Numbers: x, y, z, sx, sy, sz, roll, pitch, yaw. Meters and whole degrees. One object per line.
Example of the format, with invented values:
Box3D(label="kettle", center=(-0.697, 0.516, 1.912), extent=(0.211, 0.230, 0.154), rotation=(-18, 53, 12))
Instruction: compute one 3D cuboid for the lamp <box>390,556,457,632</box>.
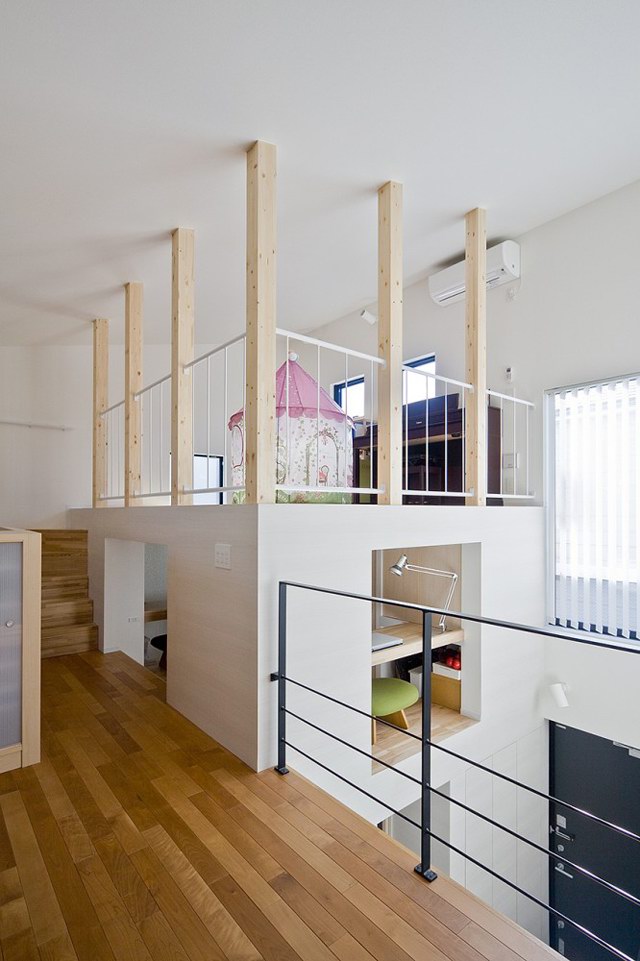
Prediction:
Box3D(label="lamp", center=(0.617, 0.638, 4.378), extent=(0.385, 0.189, 0.541), rotation=(5, -44, 14))

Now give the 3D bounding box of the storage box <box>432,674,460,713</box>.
Box3D(label="storage box", center=(0.714, 1.196, 4.169), extent=(0.062, 0.189, 0.231), rotation=(-1, 3, -29))

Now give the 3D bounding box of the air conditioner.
Box3D(label="air conditioner", center=(1.012, -1.439, 5.057), extent=(0.356, 0.302, 0.764), rotation=(-1, 3, -28))

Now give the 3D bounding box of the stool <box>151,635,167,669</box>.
Box3D(label="stool", center=(-1.279, 1.340, 5.789), extent=(0.119, 0.268, 0.205), rotation=(-1, 3, -22))
